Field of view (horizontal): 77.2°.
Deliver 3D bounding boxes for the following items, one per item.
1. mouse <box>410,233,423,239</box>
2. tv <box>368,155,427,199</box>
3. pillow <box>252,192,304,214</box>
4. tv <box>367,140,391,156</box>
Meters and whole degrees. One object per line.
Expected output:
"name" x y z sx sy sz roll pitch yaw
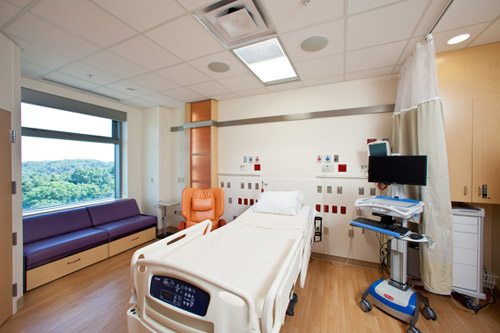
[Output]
"mouse" 2.433 1.025 4.583 0.099 0.030 0.108 -3 1 -3
"tv" 2.392 0.151 5.022 0.728 0.431 0.075 1 2 42
"pillow" 0.506 0.680 5.829 0.615 0.195 0.520 -3 32 23
"tv" 2.196 -0.312 5.371 0.244 0.227 0.388 -2 0 -42
